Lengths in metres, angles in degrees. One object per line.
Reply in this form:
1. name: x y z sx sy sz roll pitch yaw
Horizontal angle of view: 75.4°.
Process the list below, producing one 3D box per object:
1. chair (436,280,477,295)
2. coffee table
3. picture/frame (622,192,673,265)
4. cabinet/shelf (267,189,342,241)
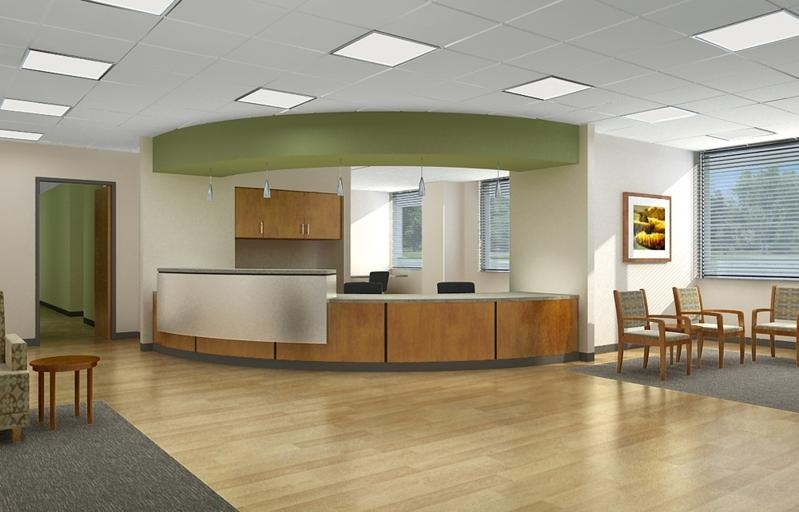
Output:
1. chair: 0.970 0.540 8.850 0.567 0.166 0.211 0 4 -4
2. coffee table: -3.605 1.336 5.504 0.858 0.753 0.837 2 -5 -44
3. picture/frame: 4.423 -0.508 9.258 1.474 1.242 0.139 1 -3 -33
4. cabinet/shelf: -1.975 -0.846 10.525 1.575 0.932 0.323 -1 4 -22
